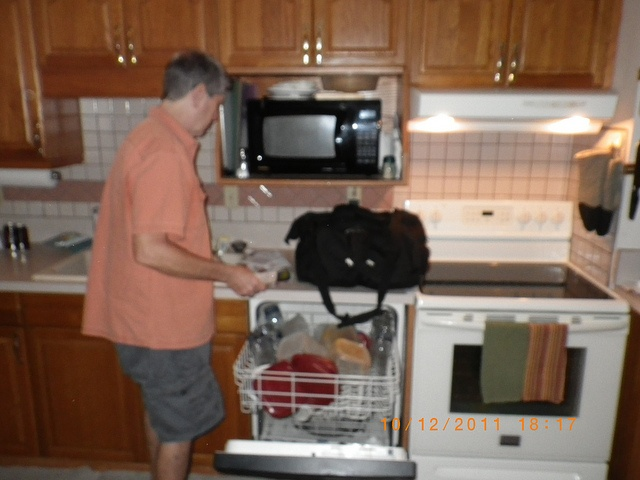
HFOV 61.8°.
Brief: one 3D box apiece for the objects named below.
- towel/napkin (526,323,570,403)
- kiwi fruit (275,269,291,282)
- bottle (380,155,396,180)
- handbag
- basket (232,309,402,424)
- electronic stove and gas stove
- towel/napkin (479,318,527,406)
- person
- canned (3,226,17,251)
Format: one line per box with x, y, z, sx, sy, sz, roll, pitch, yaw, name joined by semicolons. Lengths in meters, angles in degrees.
1.031;0.562;2.495;0.208;0.444;0.047;1;23;14;towel/napkin
-0.182;0.179;2.691;0.046;0.070;0.028;10;-30;-11;kiwi fruit
0.369;-0.386;2.862;0.083;0.116;0.131;0;13;7;bottle
0.189;0.046;2.677;0.725;0.388;0.372;-2;13;0;handbag
-0.027;0.645;2.288;0.606;0.208;0.648;13;13;-31;basket
0.991;0.205;2.822;0.891;0.081;0.455;-1;13;7;electronic stove and gas stove
0.903;0.577;2.508;0.259;0.506;0.058;-1;31;10;towel/napkin
-0.645;0.162;2.310;0.740;1.862;0.388;-6;13;-19;person
-1.828;-0.020;3.162;0.058;0.158;0.131;-13;16;-42;canned
